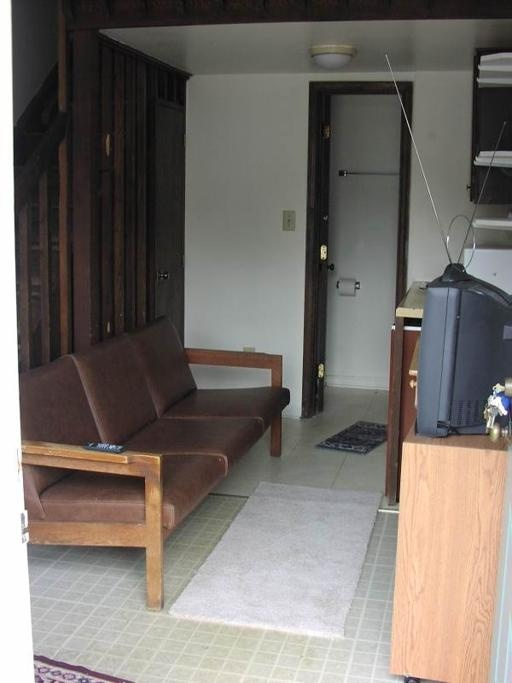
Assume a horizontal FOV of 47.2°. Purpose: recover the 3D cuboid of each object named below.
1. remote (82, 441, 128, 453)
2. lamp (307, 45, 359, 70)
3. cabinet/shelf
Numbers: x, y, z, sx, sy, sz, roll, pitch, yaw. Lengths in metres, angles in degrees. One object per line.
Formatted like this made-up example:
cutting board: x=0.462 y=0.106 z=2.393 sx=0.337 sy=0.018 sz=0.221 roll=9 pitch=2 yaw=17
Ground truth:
remote: x=-0.528 y=0.371 z=2.016 sx=0.106 sy=0.017 sz=0.151 roll=-6 pitch=9 yaw=-44
lamp: x=0.459 y=-1.714 z=3.554 sx=0.277 sy=0.079 sz=0.305 roll=2 pitch=6 yaw=10
cabinet/shelf: x=-0.639 y=-0.848 z=4.299 sx=0.163 sy=1.759 sz=0.727 roll=0 pitch=5 yaw=1
